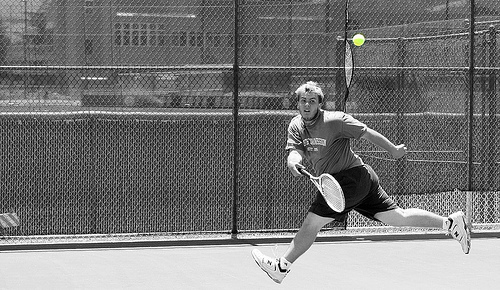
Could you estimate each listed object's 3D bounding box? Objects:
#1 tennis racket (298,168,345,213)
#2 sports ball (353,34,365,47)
[{"bbox_3d":[1.055,0.655,12.159,0.068,0.337,0.855,-28,13,-18],"label":"tennis racket"},{"bbox_3d":[1.792,-1.746,13.663,0.194,0.212,0.272,2,2,7],"label":"sports ball"}]
